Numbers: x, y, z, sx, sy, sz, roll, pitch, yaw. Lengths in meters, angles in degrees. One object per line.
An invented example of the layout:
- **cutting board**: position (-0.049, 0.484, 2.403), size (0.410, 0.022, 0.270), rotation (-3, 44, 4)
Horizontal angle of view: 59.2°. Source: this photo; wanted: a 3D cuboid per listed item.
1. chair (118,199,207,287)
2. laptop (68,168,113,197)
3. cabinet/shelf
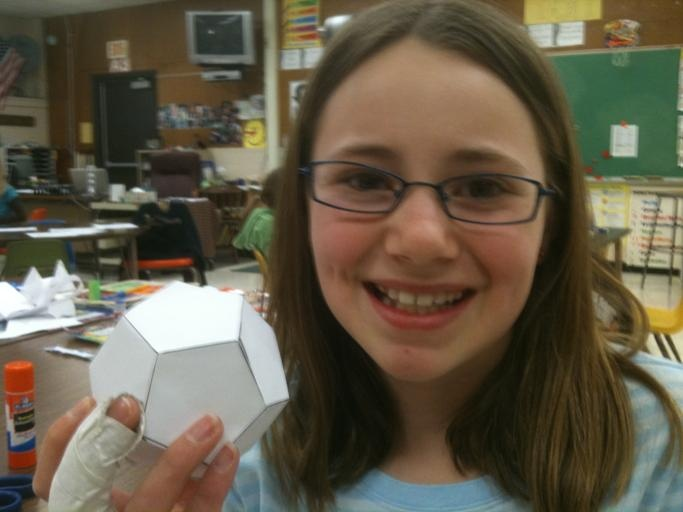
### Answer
- **chair**: position (-1.357, 0.037, 4.639), size (0.521, 0.806, 0.512), rotation (-8, 3, -23)
- **laptop**: position (-2.692, -0.767, 6.268), size (0.381, 0.314, 0.307), rotation (1, 0, 14)
- **cabinet/shelf**: position (-2.277, -0.947, 8.216), size (0.924, 1.348, 0.815), rotation (-1, 34, -17)
